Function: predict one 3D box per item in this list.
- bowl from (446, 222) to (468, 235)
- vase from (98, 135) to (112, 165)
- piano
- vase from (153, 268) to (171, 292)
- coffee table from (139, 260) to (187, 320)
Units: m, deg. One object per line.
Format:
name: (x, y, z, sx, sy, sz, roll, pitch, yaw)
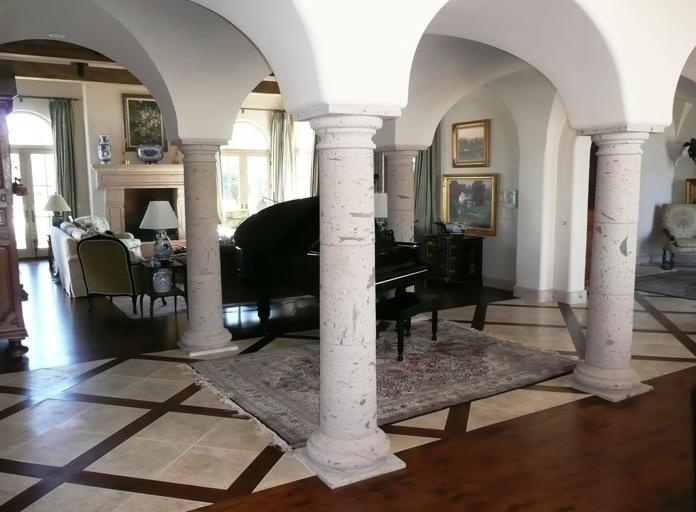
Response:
bowl: (2.037, -0.515, 9.435, 0.326, 0.117, 0.230, 5, 9, 19)
vase: (-6.090, -2.622, 12.365, 0.331, 0.700, 0.488, -6, 13, -22)
piano: (-0.493, 0.032, 6.530, 3.011, 1.665, 1.647, 6, 12, 31)
vase: (-2.802, 0.376, 7.463, 0.280, 0.333, 0.303, -10, 15, -39)
coffee table: (-2.824, 0.402, 7.765, 0.970, 0.933, 1.168, -1, 9, -24)
